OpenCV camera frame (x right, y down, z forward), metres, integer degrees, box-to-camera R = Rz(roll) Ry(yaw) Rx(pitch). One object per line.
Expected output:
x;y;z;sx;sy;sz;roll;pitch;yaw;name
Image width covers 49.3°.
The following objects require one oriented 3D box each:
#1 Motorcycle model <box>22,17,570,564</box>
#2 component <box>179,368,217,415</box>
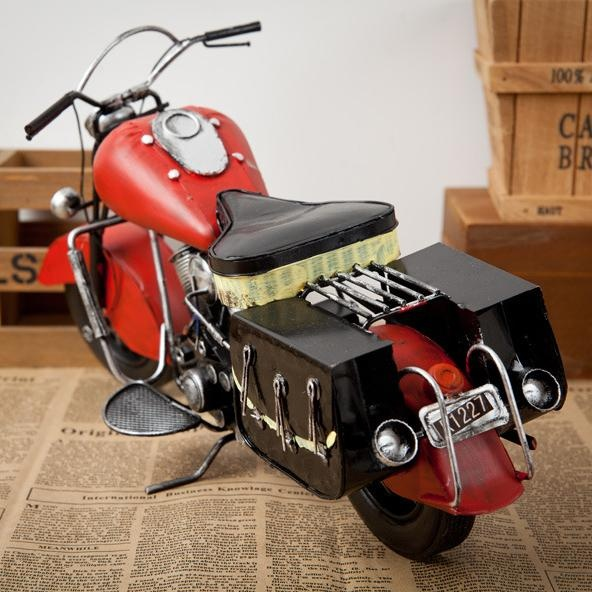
-0.036;-0.188;1.755;0.829;0.904;1.842;-23;33;-36;Motorcycle model
-0.191;0.202;1.400;0.091;0.087;0.109;-12;8;-15;component
